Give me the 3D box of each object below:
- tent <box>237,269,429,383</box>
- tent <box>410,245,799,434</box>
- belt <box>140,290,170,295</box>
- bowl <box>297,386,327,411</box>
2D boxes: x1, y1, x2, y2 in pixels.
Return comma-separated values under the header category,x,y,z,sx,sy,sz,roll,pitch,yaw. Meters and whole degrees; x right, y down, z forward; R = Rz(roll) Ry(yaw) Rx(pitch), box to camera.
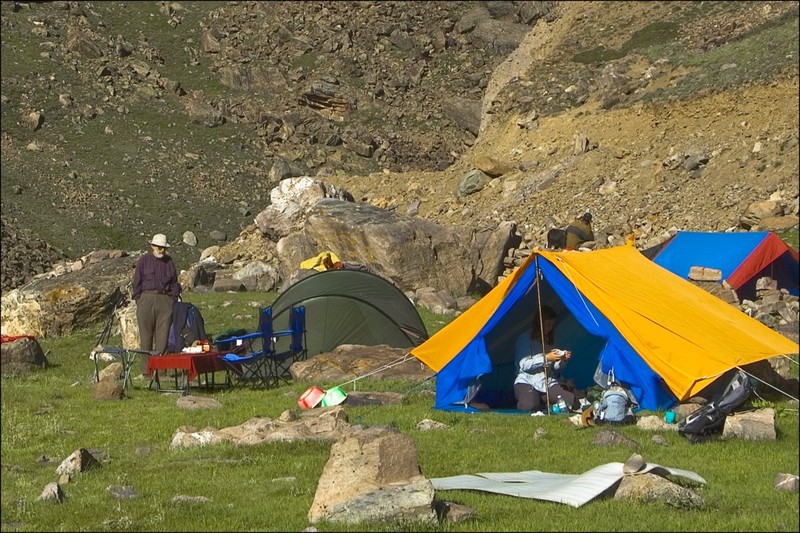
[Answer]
category,x,y,z,sx,sy,sz,roll,pitch,yaw
tent,-2.664,1.137,74.535,10.466,5.376,5.447,-4,-4,29
tent,8.338,2.598,71.166,15.701,7.258,2.328,-4,-7,7
belt,-10.383,1.160,73.050,1.181,0.230,0.107,-2,-7,-6
bowl,-3.688,5.559,70.991,1.090,0.952,0.492,-2,-7,-3
